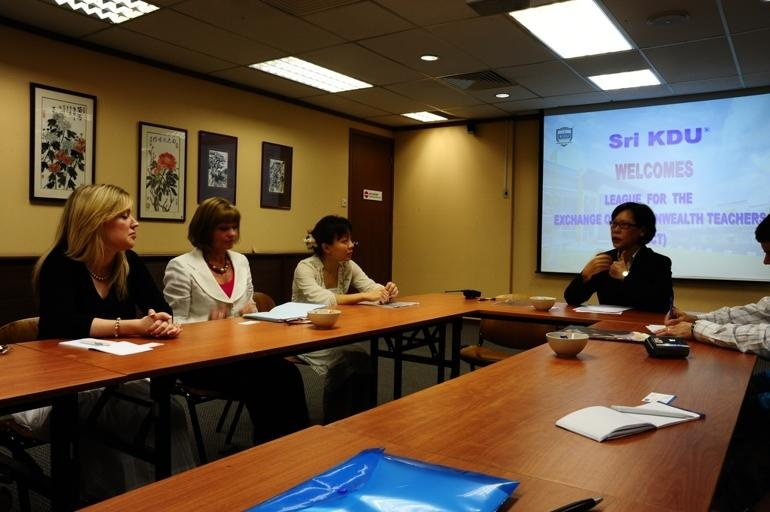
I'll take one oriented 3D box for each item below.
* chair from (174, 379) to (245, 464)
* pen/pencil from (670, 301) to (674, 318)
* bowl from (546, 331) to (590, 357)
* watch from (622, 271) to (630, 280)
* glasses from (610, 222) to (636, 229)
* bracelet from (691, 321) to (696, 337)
[{"bbox_3d":[-1.075,0.981,3.171,0.348,0.416,0.385,6,8,38],"label":"chair"},{"bbox_3d":[1.676,0.312,3.018,0.013,0.106,0.015,-2,3,3],"label":"pen/pencil"},{"bbox_3d":[0.875,0.414,2.472,0.142,0.063,0.145,0,1,0],"label":"bowl"},{"bbox_3d":[1.869,0.142,4.013,0.045,0.050,0.059,-6,-26,44],"label":"watch"},{"bbox_3d":[1.835,-0.240,3.980,0.163,0.050,0.056,9,12,44],"label":"glasses"},{"bbox_3d":[1.671,0.388,2.803,0.019,0.066,0.070,2,30,31],"label":"bracelet"}]
